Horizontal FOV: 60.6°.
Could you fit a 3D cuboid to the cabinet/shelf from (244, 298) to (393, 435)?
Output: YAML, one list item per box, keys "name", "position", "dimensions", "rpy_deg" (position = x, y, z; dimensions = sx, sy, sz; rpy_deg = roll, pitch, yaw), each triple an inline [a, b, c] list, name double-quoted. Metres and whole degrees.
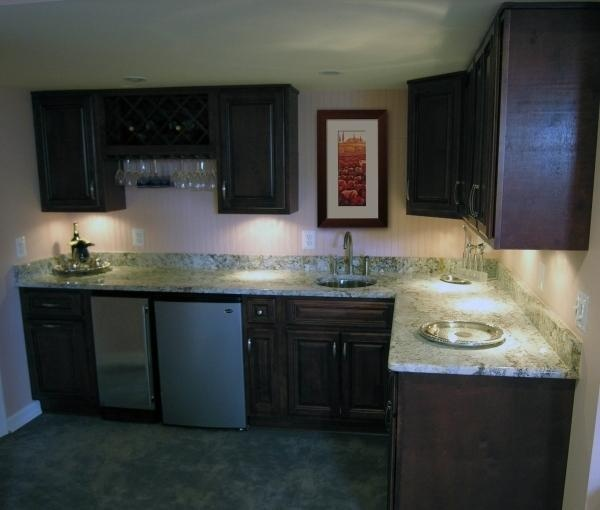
- name: "cabinet/shelf"
  position: [0.143, 0.692, 3.364]
  dimensions: [0.845, 0.749, 0.391]
  rpy_deg: [0, 4, 7]

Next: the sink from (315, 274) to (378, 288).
- name: "sink"
  position: [0.326, 0.205, 3.682]
  dimensions: [0.416, 0.094, 0.225]
  rpy_deg: [-2, 13, -3]

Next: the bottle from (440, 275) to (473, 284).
- name: "bottle"
  position: [1.056, 0.175, 3.520]
  dimensions: [0.153, 0.021, 0.232]
  rpy_deg: [-13, 17, -40]

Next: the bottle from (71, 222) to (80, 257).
- name: "bottle"
  position: [-1.784, -0.138, 4.077]
  dimensions: [0.072, 0.230, 0.319]
  rpy_deg: [-7, 14, -23]

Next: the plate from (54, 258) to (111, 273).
- name: "plate"
  position: [-1.690, 0.082, 4.016]
  dimensions: [0.436, 0.083, 0.355]
  rpy_deg: [-1, 13, 5]

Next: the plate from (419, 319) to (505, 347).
- name: "plate"
  position: [0.776, 0.367, 2.446]
  dimensions: [0.368, 0.035, 0.357]
  rpy_deg: [8, 16, 36]

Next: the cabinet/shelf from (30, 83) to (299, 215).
- name: "cabinet/shelf"
  position: [-0.997, -0.743, 3.678]
  dimensions: [1.878, 0.889, 0.213]
  rpy_deg: [1, 13, 10]
